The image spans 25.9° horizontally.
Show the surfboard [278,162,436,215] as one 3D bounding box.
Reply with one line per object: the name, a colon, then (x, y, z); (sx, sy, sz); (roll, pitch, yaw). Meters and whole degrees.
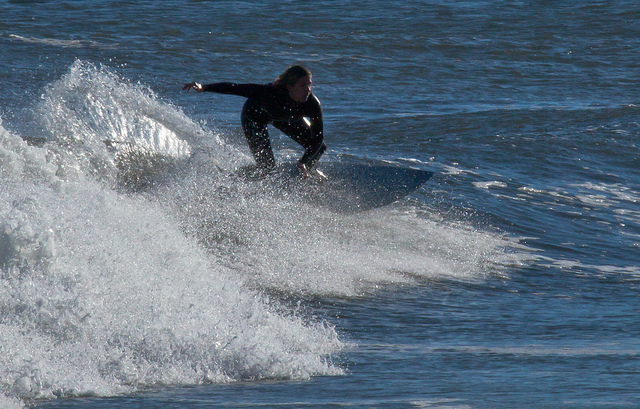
surfboard: (0.724, -0.212, 28.066); (0.351, 3.728, 0.741); (-46, 115, -44)
